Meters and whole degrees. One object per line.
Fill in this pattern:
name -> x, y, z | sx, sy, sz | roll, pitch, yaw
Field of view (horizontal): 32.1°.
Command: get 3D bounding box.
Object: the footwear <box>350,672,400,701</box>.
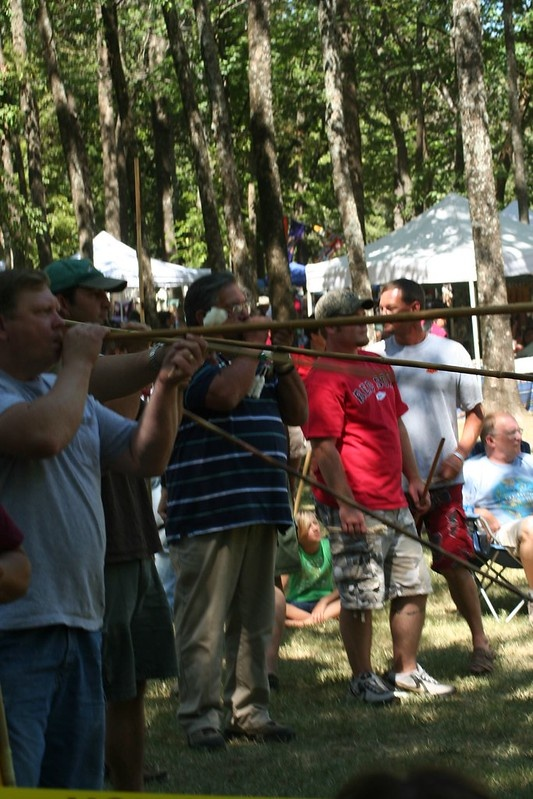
footwear -> 0.500, 1.404, 4.481 | 0.081, 0.134, 0.243 | -8, 2, -26

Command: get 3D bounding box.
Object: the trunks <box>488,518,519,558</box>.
trunks -> 1.467, 0.879, 5.804 | 0.178, 0.203, 0.286 | 2, 1, 9

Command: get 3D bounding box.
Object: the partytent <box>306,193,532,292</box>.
partytent -> 2.647, -2.563, 15.807 | 2.295, 1.511, 2.878 | -3, 10, -1

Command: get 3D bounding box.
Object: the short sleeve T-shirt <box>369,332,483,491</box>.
short sleeve T-shirt -> 0.779, 0.076, 4.664 | 0.574, 1.207, 0.377 | -1, -4, -3

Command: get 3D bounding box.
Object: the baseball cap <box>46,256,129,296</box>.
baseball cap -> -0.596, -0.405, 3.026 | 0.190, 0.114, 0.157 | 2, 13, 0

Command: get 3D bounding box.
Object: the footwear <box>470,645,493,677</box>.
footwear -> 1.103, 1.366, 4.756 | 0.052, 0.104, 0.190 | -2, -10, 7
